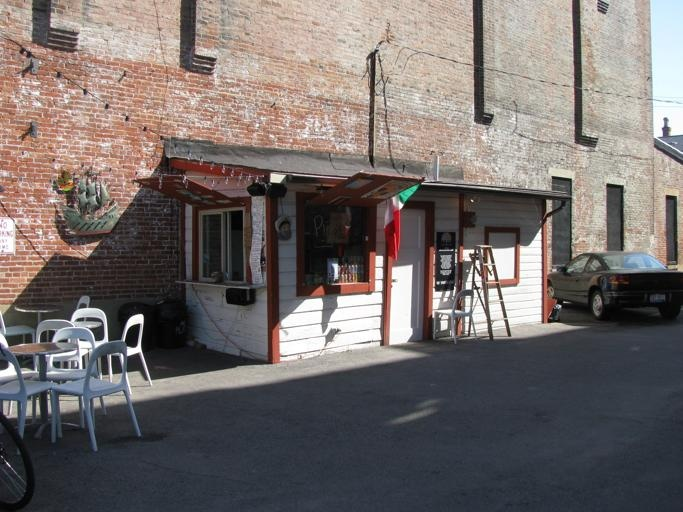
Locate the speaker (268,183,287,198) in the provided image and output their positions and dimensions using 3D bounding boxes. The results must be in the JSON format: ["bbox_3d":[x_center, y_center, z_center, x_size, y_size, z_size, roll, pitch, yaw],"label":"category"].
[{"bbox_3d":[-1.114,-1.125,11.309,0.323,0.285,0.718,-1,7,-5],"label":"speaker"}]

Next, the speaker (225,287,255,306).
[{"bbox_3d":[-1.848,0.731,11.952,0.633,0.396,0.266,6,9,41],"label":"speaker"}]

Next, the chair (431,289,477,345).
[{"bbox_3d":[2.385,1.190,13.859,0.771,1.118,0.720,3,4,44],"label":"chair"}]

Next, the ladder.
[{"bbox_3d":[3.255,0.705,14.478,0.857,2.245,0.810,4,4,22],"label":"ladder"}]

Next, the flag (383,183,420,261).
[{"bbox_3d":[1.132,-0.712,12.556,0.542,1.589,0.508,4,5,38],"label":"flag"}]
